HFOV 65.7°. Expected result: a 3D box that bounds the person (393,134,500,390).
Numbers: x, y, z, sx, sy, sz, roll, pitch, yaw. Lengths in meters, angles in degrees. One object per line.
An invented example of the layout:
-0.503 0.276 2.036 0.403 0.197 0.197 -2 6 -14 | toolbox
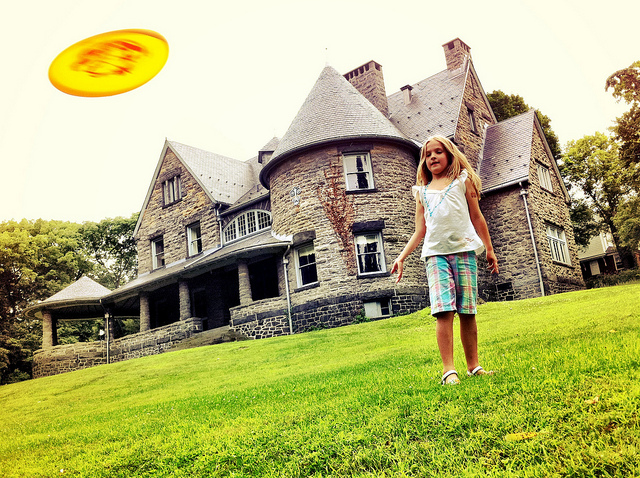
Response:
1.429 0.145 5.417 0.905 2.189 1.251 -13 -6 17 | person

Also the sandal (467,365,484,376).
1.610 1.367 5.194 0.179 0.075 0.067 -11 -2 33 | sandal

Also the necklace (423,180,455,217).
1.139 -0.415 5.040 0.021 0.301 0.414 16 7 -19 | necklace

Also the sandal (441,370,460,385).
1.322 1.403 5.039 0.085 0.087 0.239 1 -13 -14 | sandal
